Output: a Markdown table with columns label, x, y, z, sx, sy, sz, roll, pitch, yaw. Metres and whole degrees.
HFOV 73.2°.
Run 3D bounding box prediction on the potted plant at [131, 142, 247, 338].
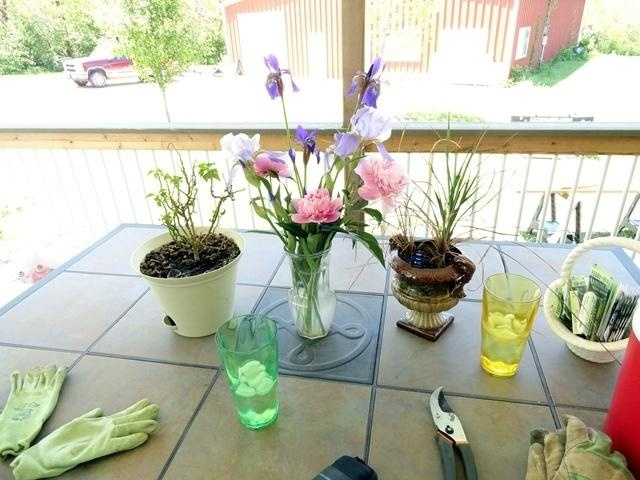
| label | x | y | z | sx | sy | sz | roll | pitch | yaw |
| --- | --- | --- | --- | --- | --- | --- | --- | --- | --- |
| potted plant | -0.403 | 0.026 | 1.367 | 0.365 | 0.539 | 0.298 | -13 | 31 | -24 |

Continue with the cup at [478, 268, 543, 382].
| label | x | y | z | sx | sy | sz | roll | pitch | yaw |
| --- | --- | --- | --- | --- | --- | --- | --- | --- | --- |
| cup | 0.521 | 0.238 | 1.208 | 0.146 | 0.268 | 0.140 | -3 | 28 | 2 |

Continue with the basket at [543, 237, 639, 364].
| label | x | y | z | sx | sy | sz | roll | pitch | yaw |
| --- | --- | --- | --- | --- | --- | --- | --- | --- | --- |
| basket | 0.789 | 0.186 | 1.251 | 0.219 | 0.258 | 0.225 | 16 | 47 | 24 |

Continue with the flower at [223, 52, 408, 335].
| label | x | y | z | sx | sy | sz | roll | pitch | yaw |
| --- | --- | --- | --- | --- | --- | --- | --- | --- | --- |
| flower | -0.031 | -0.028 | 1.334 | 0.396 | 0.632 | 0.442 | -5 | 5 | -5 |
